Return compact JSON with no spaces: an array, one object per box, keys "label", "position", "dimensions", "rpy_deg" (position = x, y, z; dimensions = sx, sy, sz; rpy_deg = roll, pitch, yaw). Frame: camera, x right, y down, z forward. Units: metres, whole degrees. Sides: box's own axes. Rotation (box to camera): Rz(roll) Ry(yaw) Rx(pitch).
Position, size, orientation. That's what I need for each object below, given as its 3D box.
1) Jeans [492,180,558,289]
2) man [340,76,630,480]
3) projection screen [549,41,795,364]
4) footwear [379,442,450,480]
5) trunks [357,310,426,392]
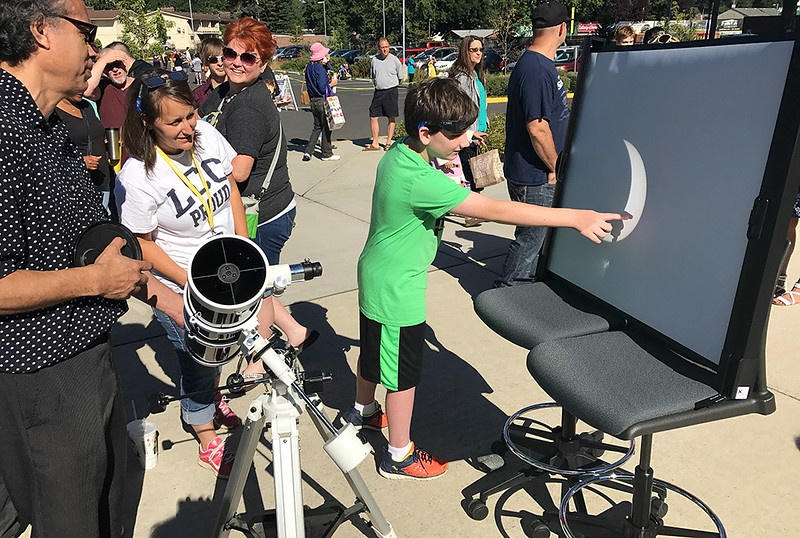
[{"label":"Jeans","position":[1.139,-0.259,5.400],"dimensions":[0.357,1.172,0.419],"rpy_deg":[8,-3,3]},{"label":"man","position":[0.433,0.124,3.563],"dimensions":[1.250,2.329,1.319],"rpy_deg":[-16,29,-42]},{"label":"projection screen","position":[1.335,-0.325,2.914],"dimensions":[0.072,1.490,1.434],"rpy_deg":[5,18,-24]},{"label":"footwear","position":[0.088,1.198,3.744],"dimensions":[0.451,0.219,0.180],"rpy_deg":[2,13,-5]},{"label":"trunks","position":[-0.053,0.464,3.424],"dimensions":[0.391,0.438,0.251],"rpy_deg":[12,18,24]}]
